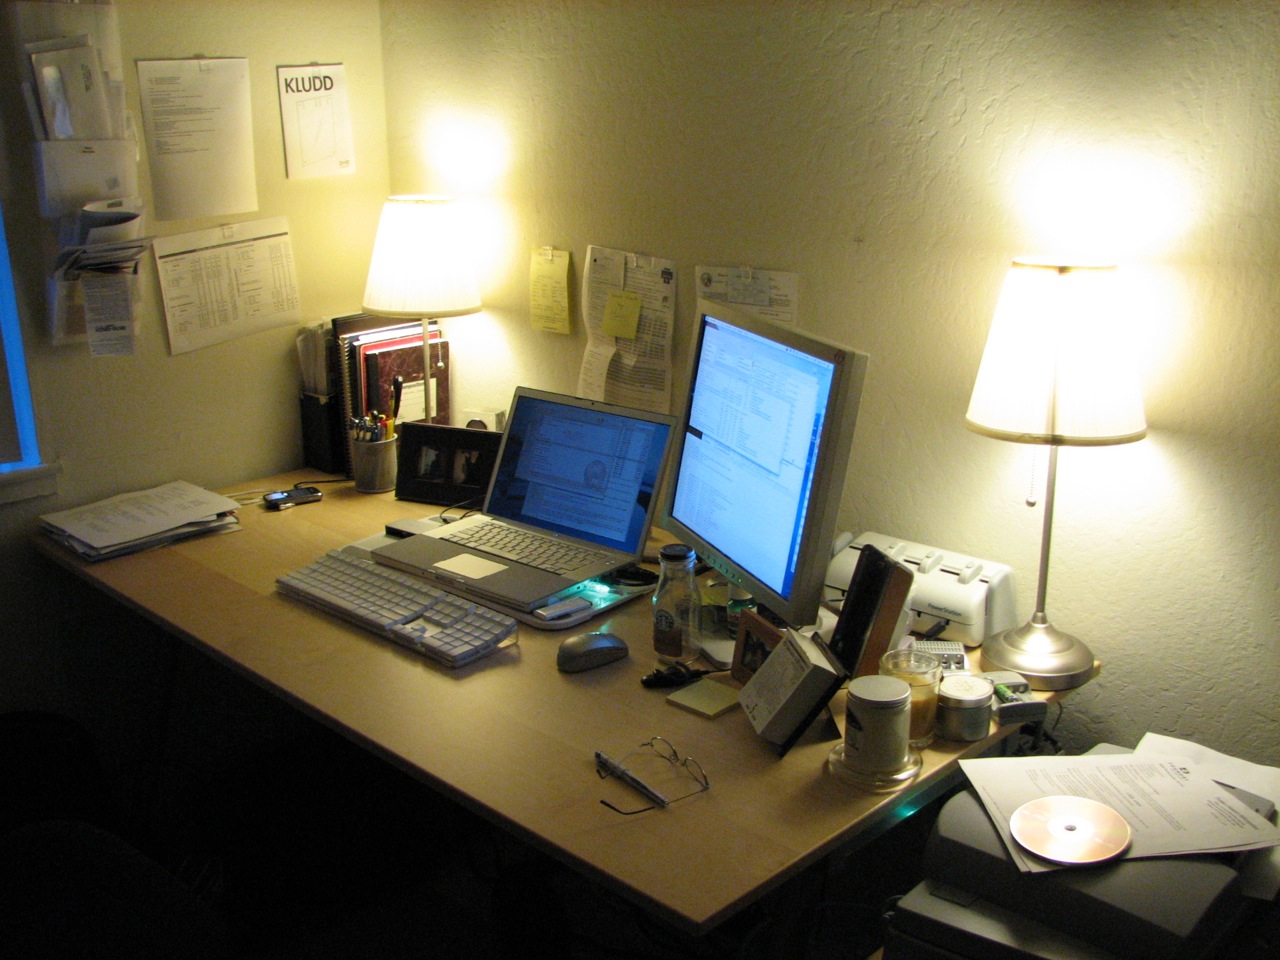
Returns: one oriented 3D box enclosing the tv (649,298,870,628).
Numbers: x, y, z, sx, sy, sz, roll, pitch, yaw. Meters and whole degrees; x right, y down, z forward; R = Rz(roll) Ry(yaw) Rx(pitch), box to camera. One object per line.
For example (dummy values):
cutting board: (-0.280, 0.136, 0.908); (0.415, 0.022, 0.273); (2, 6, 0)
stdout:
tv: (0.196, -0.052, 1.685); (0.104, 0.444, 0.460); (-5, 20, -25)

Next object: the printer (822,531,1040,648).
printer: (0.529, 0.135, 1.866); (0.349, 0.195, 0.298); (-11, 21, -39)

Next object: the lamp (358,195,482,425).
lamp: (-0.552, -0.468, 2.427); (0.209, 0.432, 0.227); (-12, 25, -39)

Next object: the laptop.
laptop: (-0.221, 0.045, 1.917); (0.502, 0.308, 0.470); (16, 25, 37)

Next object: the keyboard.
keyboard: (-0.475, 0.242, 1.857); (0.567, 0.053, 0.186); (12, 16, 37)

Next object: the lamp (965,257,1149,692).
lamp: (0.702, -0.011, 1.712); (0.285, 0.740, 0.290); (12, 17, 37)

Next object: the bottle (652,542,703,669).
bottle: (0.060, 0.221, 1.725); (0.085, 0.195, 0.083); (3, 11, -1)

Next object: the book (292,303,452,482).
book: (-0.702, -0.256, 2.494); (0.141, 0.432, 0.375); (18, 25, 35)

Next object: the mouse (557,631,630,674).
mouse: (-0.089, 0.290, 1.654); (0.104, 0.038, 0.059); (-17, 25, -40)

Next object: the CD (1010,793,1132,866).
CD: (0.570, 0.464, 1.333); (0.133, 0.050, 0.138); (3, 14, 0)

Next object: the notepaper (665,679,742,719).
notepaper: (0.109, 0.353, 1.570); (0.098, 0.023, 0.090); (19, 23, 37)
